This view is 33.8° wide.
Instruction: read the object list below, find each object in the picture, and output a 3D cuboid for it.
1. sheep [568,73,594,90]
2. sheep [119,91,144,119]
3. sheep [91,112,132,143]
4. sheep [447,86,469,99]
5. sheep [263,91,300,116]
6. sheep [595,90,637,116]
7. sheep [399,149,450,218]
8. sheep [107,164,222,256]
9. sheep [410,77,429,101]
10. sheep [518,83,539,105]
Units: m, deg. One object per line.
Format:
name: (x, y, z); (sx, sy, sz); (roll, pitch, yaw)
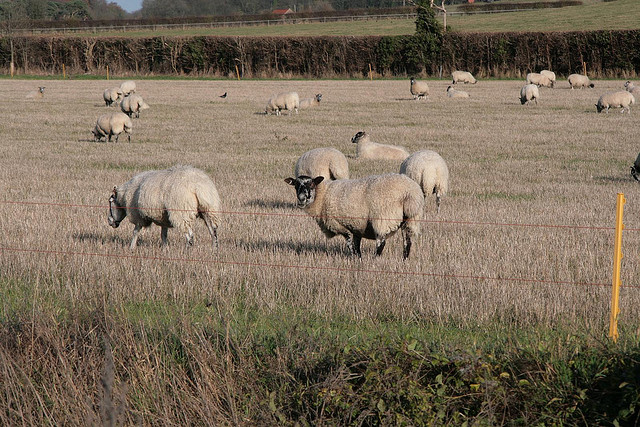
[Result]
sheep: (18.103, -9.310, 73.793); (1.624, 0.998, 2.256); (3, 9, 18)
sheep: (-10.490, -6.176, 58.305); (0.987, 1.572, 2.230); (-11, 24, -32)
sheep: (-9.902, -4.055, 50.225); (2.499, 1.515, 0.958); (-4, 0, 35)
sheep: (8.716, -7.878, 68.436); (0.756, 0.625, 1.656); (3, 11, -7)
sheep: (-2.187, -6.415, 60.843); (1.757, 1.243, 2.616); (0, 9, 2)
sheep: (16.608, -6.332, 59.454); (1.781, 1.200, 3.933); (4, 10, 25)
sheep: (3.840, -0.840, 40.053); (1.857, 3.117, 4.180); (3, -6, -3)
sheep: (-5.651, -0.114, 36.920); (4.398, 3.062, 2.018); (-1, 6, 30)
sheep: (6.282, -8.077, 67.529); (1.065, 1.332, 2.186); (2, 9, 15)
sheep: (12.346, -7.164, 62.892); (0.958, 1.180, 1.432); (2, 9, 13)
